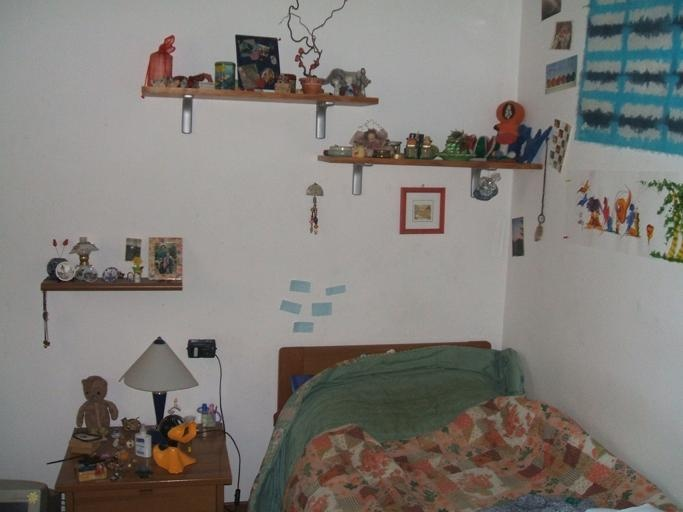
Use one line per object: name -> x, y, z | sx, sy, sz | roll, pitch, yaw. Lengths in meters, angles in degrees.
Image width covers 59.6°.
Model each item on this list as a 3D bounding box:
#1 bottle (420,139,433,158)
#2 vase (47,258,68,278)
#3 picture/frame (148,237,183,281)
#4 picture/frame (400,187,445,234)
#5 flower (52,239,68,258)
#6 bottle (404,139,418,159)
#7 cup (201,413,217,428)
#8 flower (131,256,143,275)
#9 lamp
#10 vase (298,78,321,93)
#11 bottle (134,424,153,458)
bottle -> 0.494, -0.627, 3.480 | 0.092, 0.123, 0.043 | -6, 10, -35
vase -> -1.652, 0.068, 3.450 | 0.107, 0.112, 0.137 | -5, 10, -28
picture/frame -> -1.046, 0.015, 3.527 | 0.191, 0.277, 0.024 | 0, 21, -16
picture/frame -> 0.504, -0.302, 3.851 | 0.264, 0.299, 0.019 | 1, 3, -10
flower -> -1.652, -0.049, 3.485 | 0.095, 0.134, 0.022 | 0, 8, -16
bottle -> 0.396, -0.617, 3.448 | 0.086, 0.159, 0.091 | 0, 2, 0
cup -> -0.804, 0.988, 3.597 | 0.074, 0.082, 0.079 | 2, 9, 0
flower -> -1.205, 0.064, 3.512 | 0.062, 0.120, 0.107 | -3, 9, -20
lamp -> -0.970, 0.713, 3.374 | 0.398, 0.614, 0.428 | 4, 11, 10
vase -> -0.167, -0.943, 3.340 | 0.090, 0.071, 0.095 | 0, 5, -8
bottle -> -1.093, 1.012, 3.271 | 0.100, 0.168, 0.052 | 5, 3, 26
